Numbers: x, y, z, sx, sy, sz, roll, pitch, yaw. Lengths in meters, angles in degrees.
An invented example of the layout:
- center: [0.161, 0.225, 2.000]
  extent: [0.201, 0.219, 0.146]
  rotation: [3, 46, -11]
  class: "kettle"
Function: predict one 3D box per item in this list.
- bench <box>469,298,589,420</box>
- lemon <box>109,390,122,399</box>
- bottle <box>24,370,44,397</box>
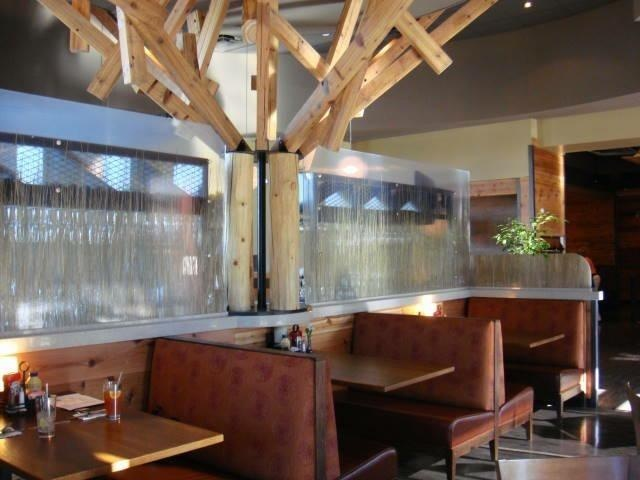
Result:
- center: [1.818, 0.951, 5.126]
  extent: [1.261, 1.293, 0.951]
  rotation: [-4, -8, 39]
  class: "bench"
- center: [-0.985, 0.749, 2.596]
  extent: [0.031, 0.046, 0.016]
  rotation: [11, -7, -23]
  class: "lemon"
- center: [-1.454, 0.736, 2.717]
  extent: [0.089, 0.161, 0.092]
  rotation: [-4, -15, -1]
  class: "bottle"
